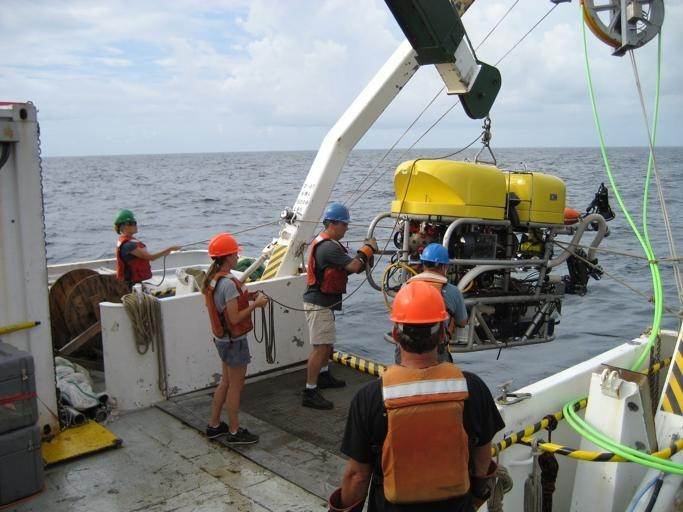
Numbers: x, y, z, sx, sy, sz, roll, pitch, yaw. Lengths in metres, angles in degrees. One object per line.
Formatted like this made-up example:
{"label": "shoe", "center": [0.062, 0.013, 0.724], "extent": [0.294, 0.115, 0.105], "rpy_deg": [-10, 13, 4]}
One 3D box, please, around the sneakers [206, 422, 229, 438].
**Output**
{"label": "sneakers", "center": [-1.315, 1.863, 6.749], "extent": [0.111, 0.108, 0.289], "rpy_deg": [1, 0, 44]}

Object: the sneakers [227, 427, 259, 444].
{"label": "sneakers", "center": [-1.036, 1.904, 6.661], "extent": [0.337, 0.140, 0.140], "rpy_deg": [3, -2, -11]}

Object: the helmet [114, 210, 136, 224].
{"label": "helmet", "center": [-2.930, -0.540, 8.524], "extent": [0.185, 0.157, 0.256], "rpy_deg": [13, 26, 36]}

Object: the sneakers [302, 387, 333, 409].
{"label": "sneakers", "center": [-0.286, 1.703, 7.555], "extent": [0.385, 0.218, 0.217], "rpy_deg": [0, 6, 0]}

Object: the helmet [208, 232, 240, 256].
{"label": "helmet", "center": [-1.173, -0.100, 6.342], "extent": [0.281, 0.160, 0.213], "rpy_deg": [-18, 23, -42]}

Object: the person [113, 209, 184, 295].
{"label": "person", "center": [-2.787, -0.066, 8.627], "extent": [0.680, 1.138, 0.578], "rpy_deg": [6, 9, 44]}

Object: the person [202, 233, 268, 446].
{"label": "person", "center": [-1.118, 0.881, 6.449], "extent": [0.651, 2.212, 0.438], "rpy_deg": [0, 6, 2]}

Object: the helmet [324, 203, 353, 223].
{"label": "helmet", "center": [-0.055, -0.523, 7.708], "extent": [0.315, 0.244, 0.362], "rpy_deg": [0, 6, -1]}
